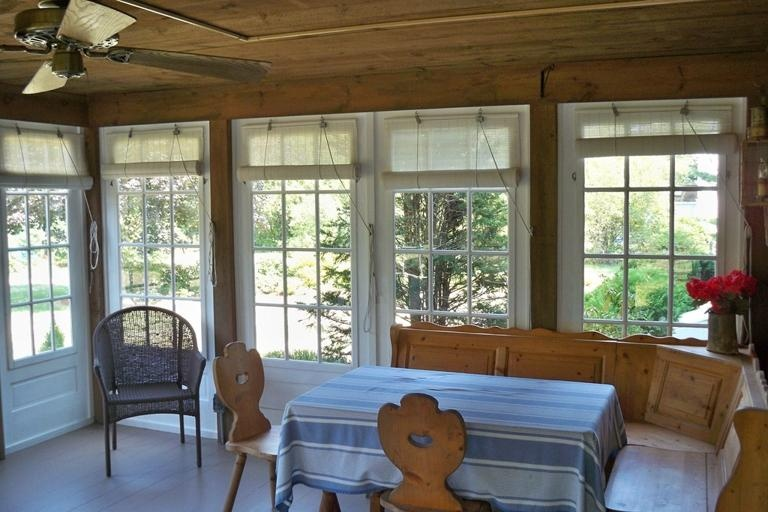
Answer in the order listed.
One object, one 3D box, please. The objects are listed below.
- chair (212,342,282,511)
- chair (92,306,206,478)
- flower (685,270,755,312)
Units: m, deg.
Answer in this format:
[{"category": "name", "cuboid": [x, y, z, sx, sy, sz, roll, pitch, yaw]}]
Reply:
[{"category": "chair", "cuboid": [-0.873, 1.148, 4.169, 0.476, 1.086, 0.492, 1, 11, 11]}, {"category": "chair", "cuboid": [-1.971, 1.050, 5.085, 0.938, 1.073, 0.954, 3, 5, 32]}, {"category": "flower", "cuboid": [2.195, 0.267, 4.079, 0.346, 0.197, 0.311, 4, -4, -9]}]
